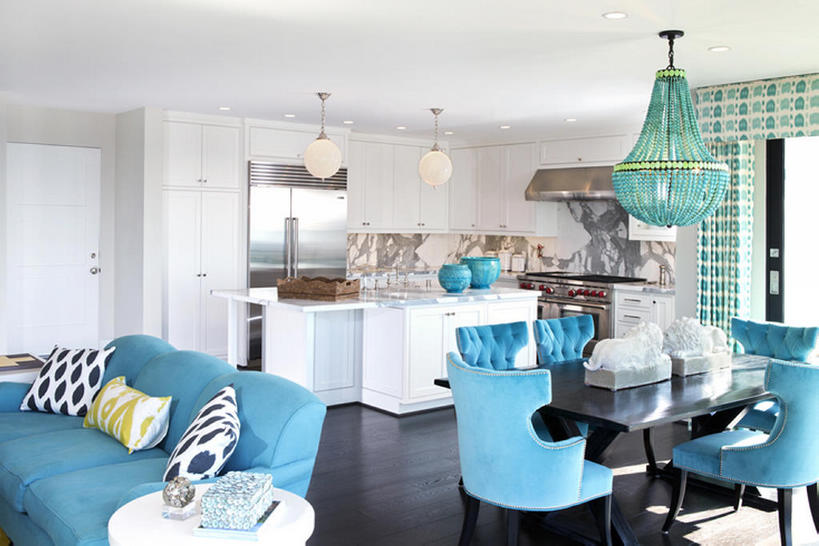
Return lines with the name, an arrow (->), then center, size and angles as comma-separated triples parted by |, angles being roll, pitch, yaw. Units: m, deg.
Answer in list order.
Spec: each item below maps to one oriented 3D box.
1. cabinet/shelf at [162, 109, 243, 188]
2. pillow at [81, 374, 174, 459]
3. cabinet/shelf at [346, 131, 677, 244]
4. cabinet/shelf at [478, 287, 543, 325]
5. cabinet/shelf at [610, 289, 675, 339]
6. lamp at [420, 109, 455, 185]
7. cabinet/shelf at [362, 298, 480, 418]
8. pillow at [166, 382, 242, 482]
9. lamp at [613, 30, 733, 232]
cabinet/shelf -> -2.743, -1.599, 7.242 | 1.020, 0.907, 0.390 | 2, 5, -1
pillow -> -1.786, 0.739, 3.421 | 0.768, 0.345, 0.335 | 7, 7, 41
cabinet/shelf -> 0.574, -1.363, 8.513 | 2.021, 1.069, 2.792 | 1, 2, -36
cabinet/shelf -> 1.164, 0.392, 6.077 | 0.572, 0.534, 0.411 | -1, 2, -38
cabinet/shelf -> 2.885, 0.469, 6.552 | 0.459, 0.641, 0.682 | 3, -1, -37
lamp -> 0.340, -1.506, 6.469 | 0.571, 0.878, 0.555 | -4, 11, -19
cabinet/shelf -> 0.166, 0.890, 6.188 | 0.725, 1.245, 1.390 | 4, 3, 40
pillow -> -1.045, 0.863, 2.891 | 0.372, 0.403, 0.607 | 3, 13, -6
lamp -> 1.888, -1.043, 3.779 | 0.693, 1.432, 0.669 | 5, 9, 30
